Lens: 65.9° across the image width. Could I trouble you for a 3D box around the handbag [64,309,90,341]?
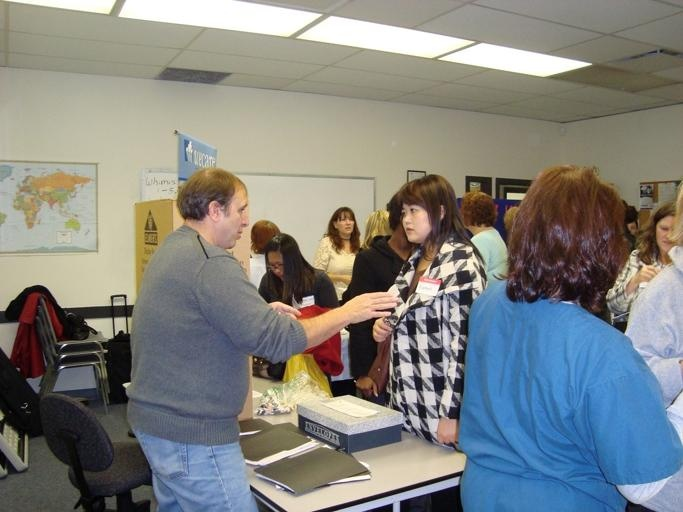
[{"bbox_3d":[-2.521,0.648,5.006,0.279,0.271,0.198,-4,10,-19],"label":"handbag"}]
